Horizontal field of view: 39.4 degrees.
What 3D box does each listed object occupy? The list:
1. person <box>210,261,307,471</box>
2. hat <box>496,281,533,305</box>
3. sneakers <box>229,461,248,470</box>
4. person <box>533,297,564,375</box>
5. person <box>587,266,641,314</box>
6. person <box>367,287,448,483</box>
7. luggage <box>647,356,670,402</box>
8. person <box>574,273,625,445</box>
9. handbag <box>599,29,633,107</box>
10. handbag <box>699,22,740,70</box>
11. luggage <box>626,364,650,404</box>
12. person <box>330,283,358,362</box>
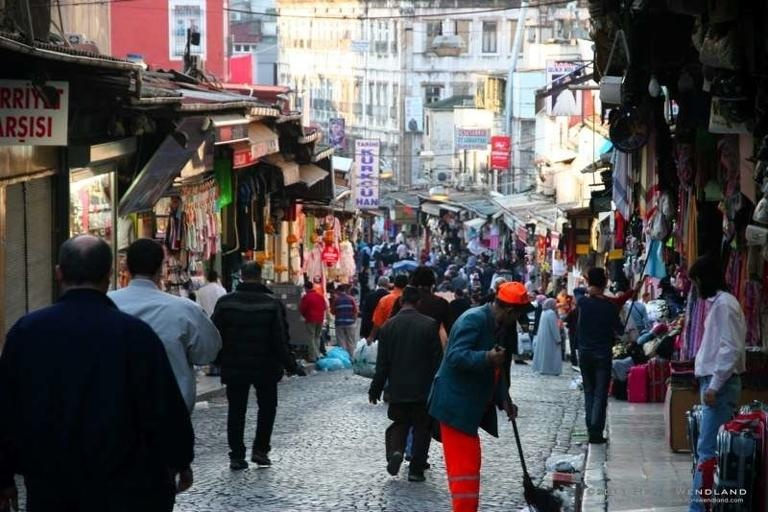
[{"bbox_3d":[-1.443,1.226,11.904,0.882,2.243,0.637,0,3,-10],"label":"person"},{"bbox_3d":[1.180,0.355,9.938,0.282,0.210,0.283,1,3,9],"label":"hat"},{"bbox_3d":[-1.576,2.297,11.748,0.189,0.107,0.158,0,3,-11],"label":"sneakers"},{"bbox_3d":[3.186,1.704,20.983,0.544,1.253,0.799,0,3,-1],"label":"person"},{"bbox_3d":[3.444,0.514,16.033,0.681,0.839,0.271,3,14,22],"label":"person"},{"bbox_3d":[0.310,1.436,12.705,0.670,2.212,0.633,0,8,0],"label":"person"},{"bbox_3d":[3.989,1.843,15.691,0.297,0.706,0.435,1,3,13],"label":"luggage"},{"bbox_3d":[2.667,1.259,13.398,0.537,2.161,0.858,1,3,10],"label":"person"},{"bbox_3d":[2.633,-2.151,12.326,0.316,0.838,1.631,1,3,11],"label":"handbag"},{"bbox_3d":[2.857,-1.798,9.242,0.274,0.395,0.360,1,3,8],"label":"handbag"},{"bbox_3d":[3.757,1.908,15.923,0.305,0.555,0.273,1,3,10],"label":"luggage"},{"bbox_3d":[-0.889,1.440,23.888,0.540,1.546,1.196,0,3,-2],"label":"person"}]
